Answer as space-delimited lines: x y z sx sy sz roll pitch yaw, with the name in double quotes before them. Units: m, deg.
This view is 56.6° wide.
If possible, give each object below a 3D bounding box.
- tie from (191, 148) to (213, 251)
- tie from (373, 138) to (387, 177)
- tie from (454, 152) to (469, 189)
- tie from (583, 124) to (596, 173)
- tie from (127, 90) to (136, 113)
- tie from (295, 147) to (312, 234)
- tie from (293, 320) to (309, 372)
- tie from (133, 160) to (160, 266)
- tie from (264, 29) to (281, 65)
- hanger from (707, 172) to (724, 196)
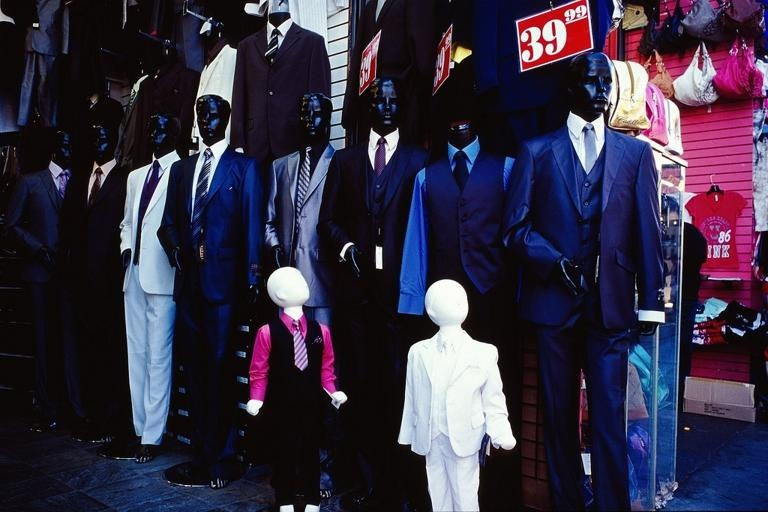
"tie" -1.398 -0.461 5.526 0.103 1.000 0.097 3 -11 1
"tie" -0.027 -0.732 5.201 0.087 0.265 0.086 0 7 -1
"tie" 0.543 -0.615 5.063 0.110 0.355 0.038 -6 -35 13
"tie" 1.382 -0.735 4.807 0.091 0.309 0.065 3 7 17
"tie" -2.445 -1.503 6.919 0.074 0.209 0.229 -4 9 -30
"tie" -0.617 -0.533 5.481 0.089 0.781 0.078 9 -7 -21
"tie" -0.575 0.610 4.913 0.100 0.329 0.080 -1 7 -10
"tie" -1.934 -0.360 5.852 0.149 0.838 0.233 6 9 38
"tie" -0.908 -1.725 5.862 0.121 0.273 0.083 5 8 33
"hanger" 3.609 -0.781 7.786 0.231 0.301 0.019 -3 -13 30
